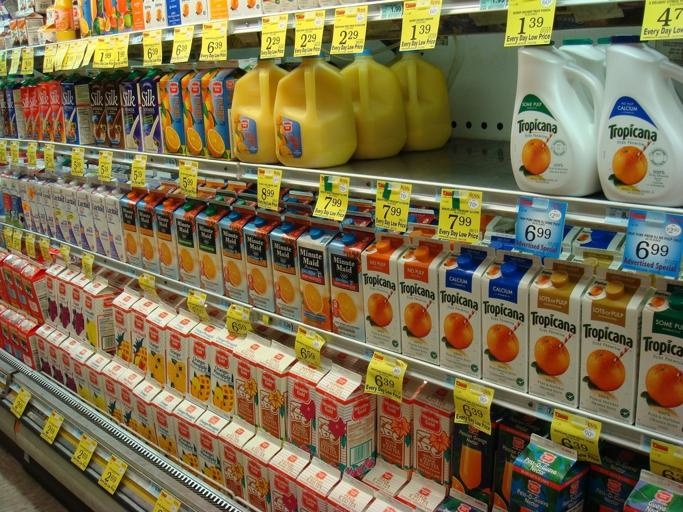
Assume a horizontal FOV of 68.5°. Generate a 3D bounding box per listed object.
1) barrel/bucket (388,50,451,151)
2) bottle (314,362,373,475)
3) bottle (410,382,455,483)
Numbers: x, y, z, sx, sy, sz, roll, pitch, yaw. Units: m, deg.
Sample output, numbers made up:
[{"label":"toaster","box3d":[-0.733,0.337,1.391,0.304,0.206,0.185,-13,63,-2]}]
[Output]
[{"label":"barrel/bucket","box3d":[0.334,-0.660,2.096,0.252,0.403,0.227,-13,30,2]},{"label":"bottle","box3d":[0.015,0.637,1.933,0.193,0.368,0.208,0,3,0]},{"label":"bottle","box3d":[0.331,0.652,1.781,0.135,0.291,0.153,-5,21,-6]}]
